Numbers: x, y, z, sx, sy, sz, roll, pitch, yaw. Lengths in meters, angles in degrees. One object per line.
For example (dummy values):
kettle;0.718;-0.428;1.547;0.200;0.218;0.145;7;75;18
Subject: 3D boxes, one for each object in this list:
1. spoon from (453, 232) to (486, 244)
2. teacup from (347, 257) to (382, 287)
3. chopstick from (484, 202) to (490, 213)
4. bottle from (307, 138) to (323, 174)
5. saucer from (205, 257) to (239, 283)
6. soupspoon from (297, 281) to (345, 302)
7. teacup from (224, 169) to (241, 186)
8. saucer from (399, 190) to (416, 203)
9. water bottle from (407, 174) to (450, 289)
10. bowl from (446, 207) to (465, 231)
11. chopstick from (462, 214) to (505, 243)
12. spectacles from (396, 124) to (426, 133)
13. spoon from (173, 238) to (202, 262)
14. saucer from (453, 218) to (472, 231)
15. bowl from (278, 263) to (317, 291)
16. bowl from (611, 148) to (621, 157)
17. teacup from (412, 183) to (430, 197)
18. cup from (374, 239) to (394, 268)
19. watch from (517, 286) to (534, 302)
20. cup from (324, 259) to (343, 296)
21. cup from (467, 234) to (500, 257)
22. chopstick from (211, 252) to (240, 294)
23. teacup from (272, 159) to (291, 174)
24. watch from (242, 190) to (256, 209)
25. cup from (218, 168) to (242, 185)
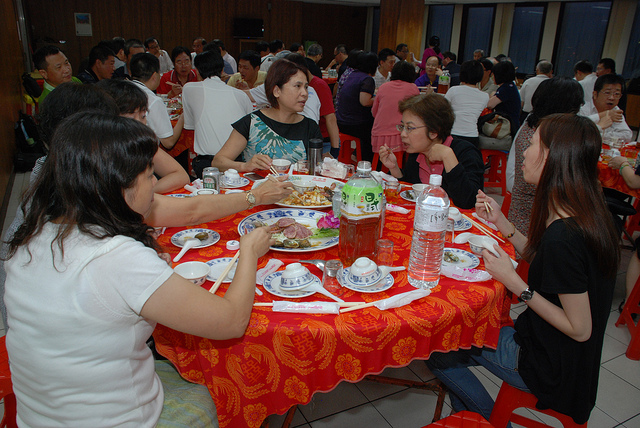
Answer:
spoon;0.680;0.115;1.987;0.086;0.018;0.059;7;18;31
teacup;0.179;0.238;1.654;0.109;0.047;0.109;-20;23;-19
chopstick;0.810;-0.031;2.035;0.007;0.010;0.046;10;49;-24
bottle;-0.028;-0.393;2.853;0.098;0.198;0.201;-2;22;-1
saucer;-0.409;0.241;1.764;0.125;0.018;0.125;5;38;-4
soupspoon;0.002;0.302;1.636;0.197;0.061;0.066;22;-13;9
teacup;-0.527;-0.213;2.541;0.094;0.070;0.095;4;20;-4
saucer;0.515;-0.099;2.450;0.067;0.009;0.066;6;29;-3
water bottle;0.460;0.080;1.761;0.143;0.479;0.145;0;25;0
bowl;0.658;0.031;2.039;0.095;0.059;0.095;-2;18;1
chopstick;0.809;0.078;2.060;0.195;0.009;0.021;45;1;27
spectacles;0.608;-0.550;2.709;0.106;0.031;0.102;-7;17;-20
spoon;-0.584;0.159;1.849;0.049;0.026;0.117;11;45;33
saucer;0.737;0.060;2.124;0.061;0.009;0.062;-3;32;2
bowl;-0.092;0.250;1.631;0.107;0.053;0.109;-2;3;0
bowl;2.706;-0.552;3.824;0.077;0.067;0.078;0;8;0
teacup;0.596;-0.141;2.486;0.081;0.034;0.081;-3;19;-13
cup;0.287;0.188;1.821;0.078;0.107;0.074;6;-8;1
watch;0.828;0.324;1.687;0.034;0.054;0.050;39;47;4
cup;0.058;0.254;1.663;0.117;0.116;0.095;0;6;19
cup;0.760;0.137;1.942;0.111;0.059;0.113;-1;19;0
chopstick;-0.370;0.233;1.646;0.026;0.010;0.226;-26;20;29
teacup;-0.259;-0.315;2.759;0.096;0.044;0.097;2;18;9
watch;-0.345;-0.070;2.168;0.054;0.088;0.082;-9;-6;-33
cup;-0.548;-0.223;2.574;0.115;0.079;0.086;3;6;7
